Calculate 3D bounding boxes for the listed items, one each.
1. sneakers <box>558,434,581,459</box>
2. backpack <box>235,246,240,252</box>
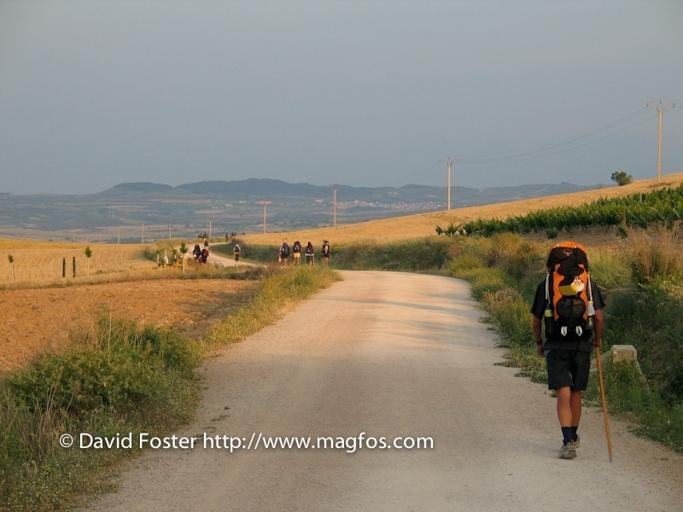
[{"bbox_3d":[3.185,2.700,10.002,0.150,0.195,0.411,-1,-5,4],"label":"sneakers"},{"bbox_3d":[-8.363,-0.553,57.774,0.395,0.652,0.210,4,1,41],"label":"backpack"}]
